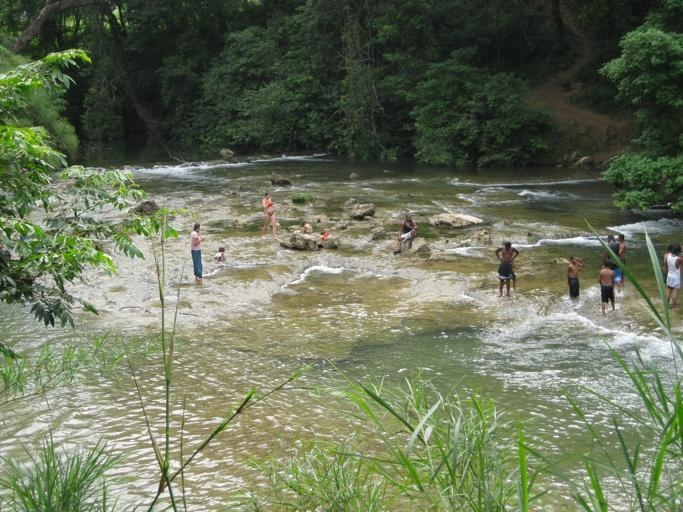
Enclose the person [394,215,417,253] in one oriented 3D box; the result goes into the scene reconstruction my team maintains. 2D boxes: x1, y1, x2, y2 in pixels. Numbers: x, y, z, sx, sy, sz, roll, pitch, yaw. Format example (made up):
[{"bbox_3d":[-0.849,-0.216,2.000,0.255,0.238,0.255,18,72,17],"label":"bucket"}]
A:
[{"bbox_3d":[2.126,-0.811,22.434,0.693,0.725,1.395,4,28,13],"label":"person"}]
